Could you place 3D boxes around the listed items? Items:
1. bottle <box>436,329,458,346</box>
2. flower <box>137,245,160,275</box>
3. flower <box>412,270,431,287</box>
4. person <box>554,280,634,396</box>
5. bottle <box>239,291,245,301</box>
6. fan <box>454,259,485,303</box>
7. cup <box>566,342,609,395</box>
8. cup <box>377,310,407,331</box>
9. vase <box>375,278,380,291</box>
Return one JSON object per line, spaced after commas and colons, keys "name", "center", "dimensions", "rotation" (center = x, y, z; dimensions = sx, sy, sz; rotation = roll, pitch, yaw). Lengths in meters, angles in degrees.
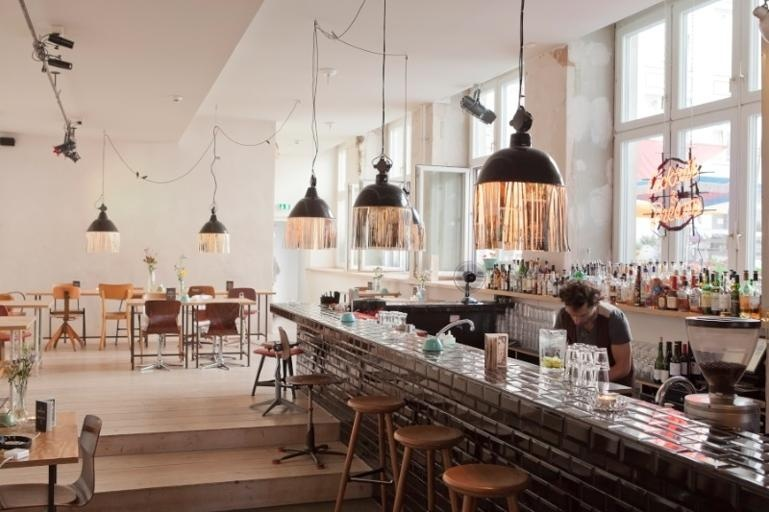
{"name": "bottle", "center": [0.584, 0.790, 6.136], "dimensions": [0.145, 0.142, 0.142], "rotation": [1, -4, -7]}
{"name": "flower", "center": [-4.198, 0.100, 11.590], "dimensions": [0.286, 0.488, 0.679], "rotation": [-10, 9, -19]}
{"name": "flower", "center": [0.607, 0.366, 10.337], "dimensions": [0.271, 0.268, 0.270], "rotation": [-1, 3, 1]}
{"name": "person", "center": [1.824, 0.749, 5.720], "dimensions": [0.722, 1.070, 0.707], "rotation": [0, 16, 34]}
{"name": "bottle", "center": [-2.362, 0.670, 10.654], "dimensions": [0.111, 0.189, 0.109], "rotation": [0, -6, 0]}
{"name": "fan", "center": [1.142, 0.361, 8.876], "dimensions": [0.438, 0.594, 0.366], "rotation": [-4, 6, -22]}
{"name": "cup", "center": [1.427, 0.808, 4.527], "dimensions": [0.324, 0.307, 0.323], "rotation": [-1, -6, 0]}
{"name": "cup", "center": [0.072, 0.725, 7.091], "dimensions": [0.274, 0.124, 0.173], "rotation": [1, 1, -17]}
{"name": "vase", "center": [-0.134, 0.497, 11.395], "dimensions": [0.089, 0.194, 0.169], "rotation": [-4, 9, 18]}
